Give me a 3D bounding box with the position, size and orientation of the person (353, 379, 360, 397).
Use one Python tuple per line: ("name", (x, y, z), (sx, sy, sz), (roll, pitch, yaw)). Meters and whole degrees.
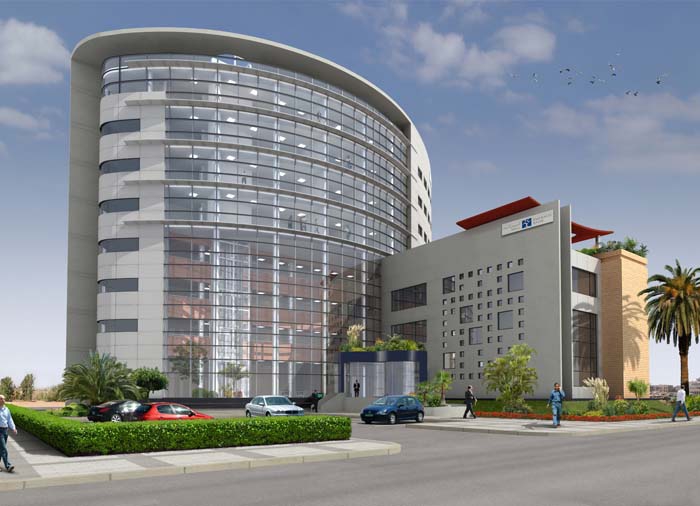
("person", (0.636, 11.898, 75.742), (0.467, 1.361, 0.624), (2, -5, -39))
